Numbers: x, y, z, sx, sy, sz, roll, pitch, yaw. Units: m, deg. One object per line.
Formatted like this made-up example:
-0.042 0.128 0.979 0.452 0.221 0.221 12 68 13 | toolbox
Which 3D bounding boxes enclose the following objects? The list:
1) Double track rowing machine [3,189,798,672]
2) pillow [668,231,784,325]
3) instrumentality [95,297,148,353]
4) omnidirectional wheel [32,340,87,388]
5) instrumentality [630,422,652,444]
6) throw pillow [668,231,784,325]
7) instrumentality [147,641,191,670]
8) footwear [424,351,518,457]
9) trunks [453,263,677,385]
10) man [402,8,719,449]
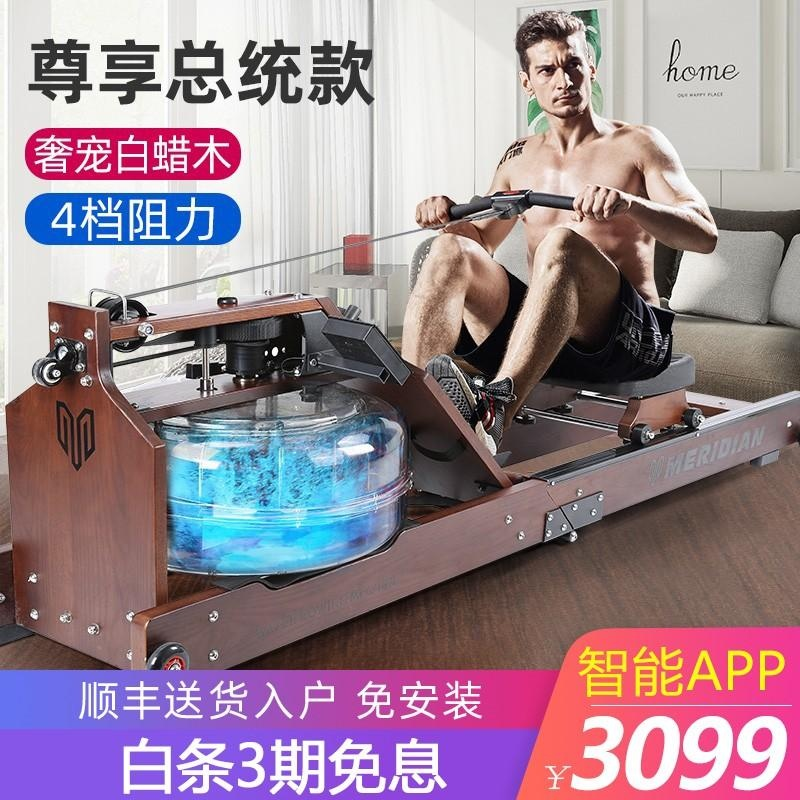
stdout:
0.151 -0.001 1.421 1.476 0.473 0.570 -5 6 -44 | Double track rowing machine
1.560 -0.596 3.629 0.156 0.439 0.531 26 -7 -38 | pillow
-0.327 -0.089 0.933 0.078 0.067 0.019 -17 0 14 | instrumentality
-0.379 -0.040 0.900 0.060 0.035 0.059 -25 18 9 | omnidirectional wheel
0.490 0.067 1.569 0.044 0.041 0.044 8 3 38 | instrumentality
1.554 -0.573 3.645 0.156 0.439 0.531 26 -7 -38 | throw pillow
-0.246 0.278 0.834 0.038 0.034 0.014 -37 31 -31 | instrumentality
0.141 -0.010 1.517 0.132 0.215 0.362 18 -6 9 | footwear
0.458 -0.148 1.824 0.381 0.141 0.383 -7 11 -36 | trunks
0.326 -0.422 1.806 0.729 0.952 0.830 5 10 34 | man
